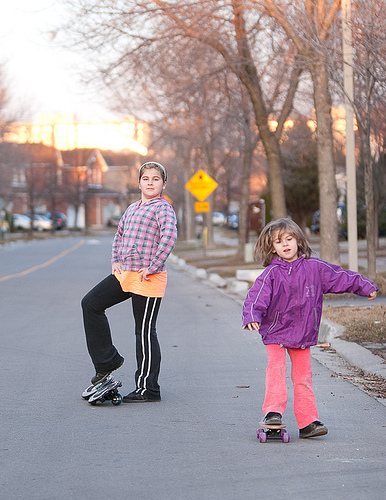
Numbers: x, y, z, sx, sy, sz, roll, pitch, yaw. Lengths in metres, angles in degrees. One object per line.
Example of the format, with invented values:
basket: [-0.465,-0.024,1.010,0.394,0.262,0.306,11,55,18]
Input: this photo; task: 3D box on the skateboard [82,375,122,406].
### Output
skateboard: [-0.723,1.124,5.704,0.254,0.090,0.244,-20,21,0]

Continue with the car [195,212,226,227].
car: [1.917,-3.338,90.193,4.553,2.128,2.547,3,4,8]

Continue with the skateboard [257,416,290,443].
skateboard: [0.518,1.164,4.680,0.213,0.151,0.171,2,2,6]

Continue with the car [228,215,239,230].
car: [3.925,-2.629,71.423,0.813,1.445,3.369,2,2,-3]

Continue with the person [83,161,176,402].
person: [-0.505,0.254,5.792,0.700,1.915,0.403,2,3,-3]

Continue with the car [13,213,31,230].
car: [-17.364,-2.512,73.089,1.898,1.266,3.793,0,15,-16]

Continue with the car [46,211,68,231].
car: [-14.978,-3.261,81.082,1.764,1.509,3.189,-5,8,-40]

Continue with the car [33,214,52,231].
car: [-15.332,-2.612,73.417,1.695,1.521,3.143,2,2,-12]

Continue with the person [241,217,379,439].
person: [0.691,0.529,4.572,0.766,1.433,0.517,2,3,3]
